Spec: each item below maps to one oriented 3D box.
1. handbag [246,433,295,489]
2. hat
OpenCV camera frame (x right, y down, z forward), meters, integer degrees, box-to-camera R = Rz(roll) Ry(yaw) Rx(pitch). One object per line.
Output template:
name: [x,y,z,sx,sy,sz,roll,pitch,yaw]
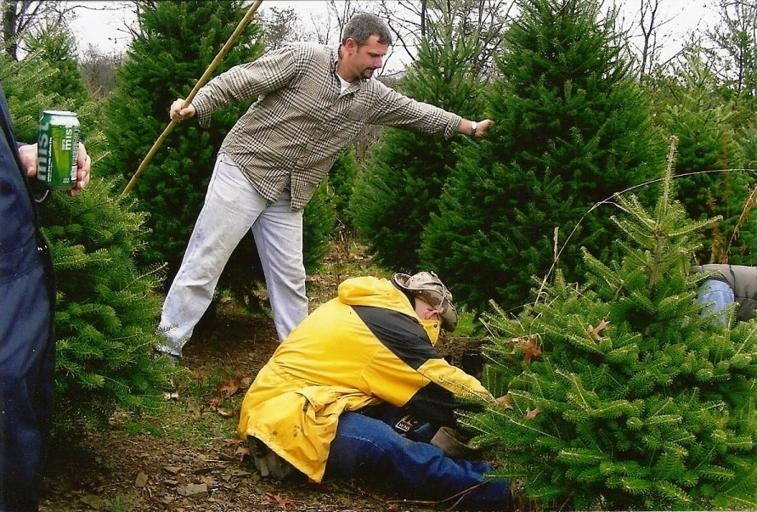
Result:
handbag: [-0.732,1.342,4.594,0.304,0.240,0.111,41,43,8]
hat: [0.359,0.270,5.010,0.464,0.197,0.361,41,-3,-5]
